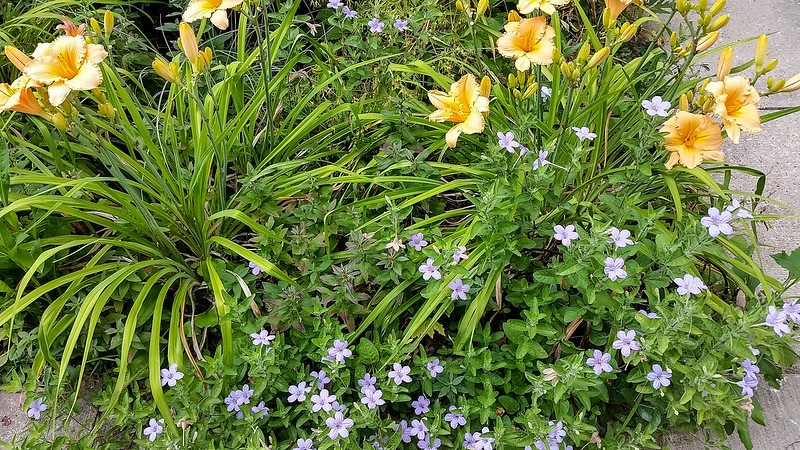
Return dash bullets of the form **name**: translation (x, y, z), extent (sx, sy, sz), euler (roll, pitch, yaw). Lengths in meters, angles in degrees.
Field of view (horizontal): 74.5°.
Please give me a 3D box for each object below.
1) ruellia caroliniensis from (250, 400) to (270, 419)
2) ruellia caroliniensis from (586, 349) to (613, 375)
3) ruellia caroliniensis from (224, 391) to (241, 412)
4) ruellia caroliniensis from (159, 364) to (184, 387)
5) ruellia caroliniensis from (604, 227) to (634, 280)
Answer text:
- **ruellia caroliniensis**: translation (-0.750, 1.004, 2.828), extent (0.086, 0.100, 0.074), euler (-33, 69, -11)
- **ruellia caroliniensis**: translation (1.029, 0.716, 2.711), extent (0.108, 0.111, 0.127), euler (-42, 71, -14)
- **ruellia caroliniensis**: translation (-0.890, 0.939, 2.797), extent (0.094, 0.027, 0.091), euler (-21, 94, -11)
- **ruellia caroliniensis**: translation (-1.203, 0.793, 2.771), extent (0.133, 0.039, 0.121), euler (-1, 61, 5)
- **ruellia caroliniensis**: translation (1.136, 0.156, 2.743), extent (0.150, 0.208, 0.190), euler (-28, 67, 20)
